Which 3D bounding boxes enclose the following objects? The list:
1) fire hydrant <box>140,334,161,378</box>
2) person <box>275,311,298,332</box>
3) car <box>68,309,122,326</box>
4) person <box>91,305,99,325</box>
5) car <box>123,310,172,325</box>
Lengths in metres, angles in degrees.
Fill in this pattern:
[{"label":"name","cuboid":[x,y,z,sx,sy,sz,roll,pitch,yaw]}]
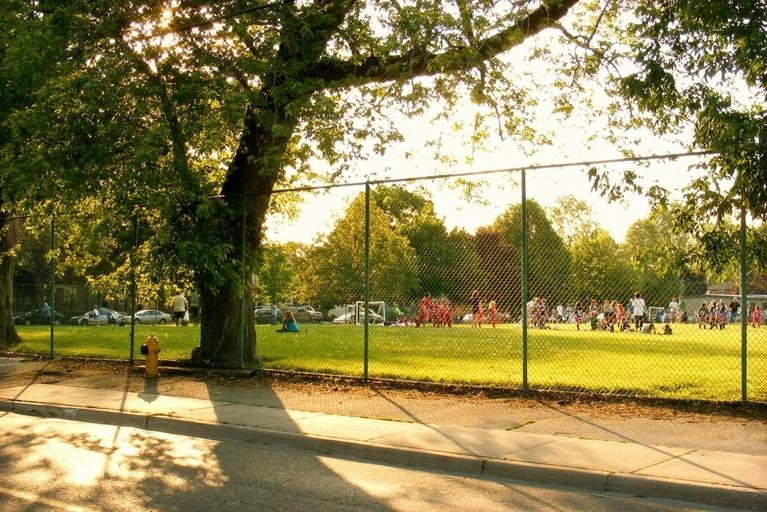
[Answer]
[{"label":"fire hydrant","cuboid":[-6.191,2.672,18.743,0.481,1.059,1.051,4,-4,-17]},{"label":"person","cuboid":[-4.670,3.382,35.143,1.088,1.304,1.119,-1,5,-24]},{"label":"car","cuboid":[-23.014,4.918,56.964,2.670,1.344,3.595,0,-6,29]},{"label":"person","cuboid":[-22.928,4.746,55.946,0.782,1.413,2.547,4,-5,-21]},{"label":"car","cuboid":[-20.754,5.409,62.248,3.619,1.300,5.859,3,-5,-3]}]
